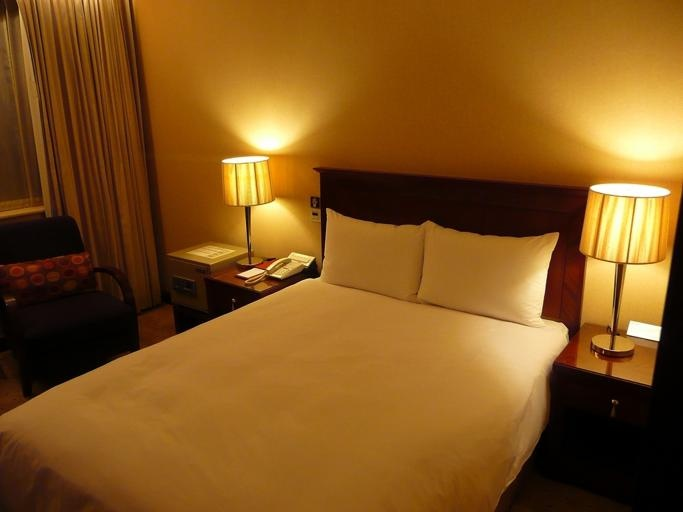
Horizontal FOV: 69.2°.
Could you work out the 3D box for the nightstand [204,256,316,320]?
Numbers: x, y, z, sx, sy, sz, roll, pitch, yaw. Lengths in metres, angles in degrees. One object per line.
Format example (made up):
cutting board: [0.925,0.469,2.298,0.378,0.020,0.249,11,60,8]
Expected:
nightstand: [-0.660,0.220,3.926,0.474,0.481,0.491,11,20,35]

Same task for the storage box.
storage box: [-1.129,0.096,4.364,0.554,0.543,0.594,10,18,31]

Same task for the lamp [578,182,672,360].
lamp: [1.532,0.070,2.732,0.407,0.903,0.423,11,19,29]

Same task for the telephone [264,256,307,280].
telephone: [-0.455,0.092,3.921,0.196,0.052,0.187,11,24,41]
